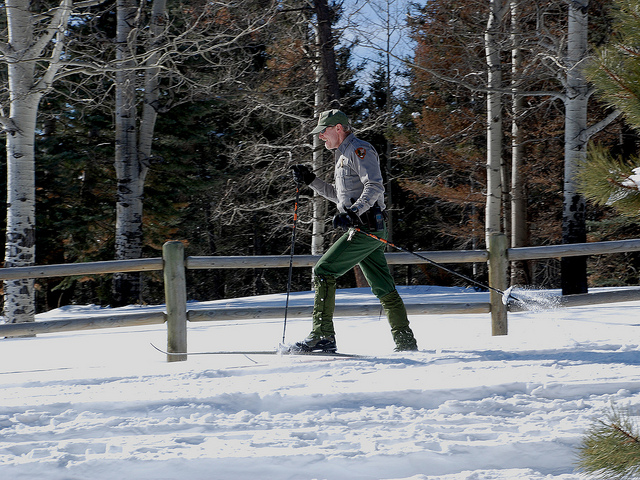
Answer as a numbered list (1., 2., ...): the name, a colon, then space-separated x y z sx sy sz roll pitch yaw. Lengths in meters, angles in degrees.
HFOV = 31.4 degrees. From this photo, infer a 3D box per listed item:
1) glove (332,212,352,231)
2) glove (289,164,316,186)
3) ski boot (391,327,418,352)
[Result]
1. glove: 0.324 -0.281 17.284 0.294 0.283 0.195 -6 7 1
2. glove: -0.264 -1.028 17.956 0.342 0.339 0.293 -7 7 -2
3. ski boot: 1.268 1.545 17.529 0.381 0.375 0.183 -6 8 4
